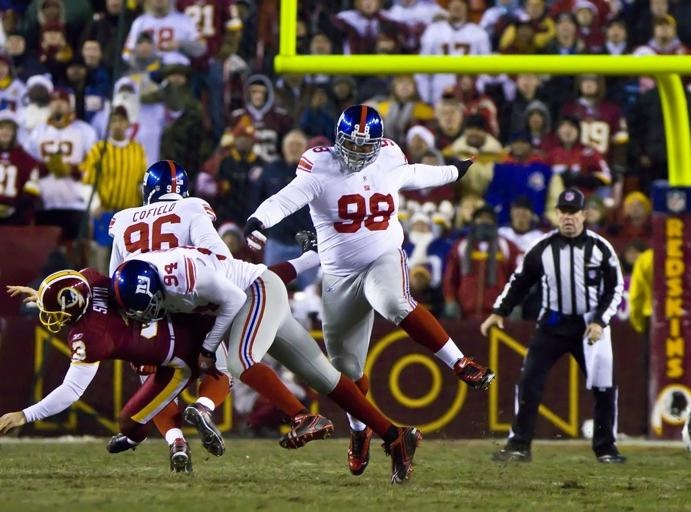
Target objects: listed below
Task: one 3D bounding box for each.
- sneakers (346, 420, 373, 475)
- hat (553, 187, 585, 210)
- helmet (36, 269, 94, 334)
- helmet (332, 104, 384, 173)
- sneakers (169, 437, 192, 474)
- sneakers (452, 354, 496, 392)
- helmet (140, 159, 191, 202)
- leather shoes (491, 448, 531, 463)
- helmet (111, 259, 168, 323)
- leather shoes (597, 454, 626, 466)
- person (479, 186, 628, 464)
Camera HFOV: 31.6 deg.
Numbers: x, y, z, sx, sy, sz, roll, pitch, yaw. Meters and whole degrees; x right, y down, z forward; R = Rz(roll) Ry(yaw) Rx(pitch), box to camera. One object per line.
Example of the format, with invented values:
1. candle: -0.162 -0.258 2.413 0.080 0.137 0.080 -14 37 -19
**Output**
1. sneakers: 0.119 1.598 10.142 0.140 0.441 0.184 0 -9 28
2. hat: 1.998 -0.493 10.767 0.253 0.197 0.149 2 3 -3
3. helmet: -2.237 0.368 9.818 0.484 0.484 0.441 -2 11 -2
4. helmet: 0.115 -0.940 10.009 0.368 0.444 0.533 7 39 -3
5. sneakers: -1.328 1.637 9.844 0.123 0.329 0.165 -6 39 -8
6. sneakers: 1.041 0.930 9.845 0.340 0.199 0.166 38 18 4
7. helmet: -1.527 -0.640 10.353 0.298 0.390 0.382 -1 13 -29
8. leather shoes: 1.486 1.756 10.829 0.354 0.161 0.125 3 -3 12
9. helmet: -1.621 0.268 9.577 0.420 0.477 0.233 2 3 -14
10. leather shoes: 2.339 1.775 10.700 0.231 0.080 0.099 3 3 4
11. person: 1.948 0.616 10.798 1.155 2.418 0.435 3 3 11
